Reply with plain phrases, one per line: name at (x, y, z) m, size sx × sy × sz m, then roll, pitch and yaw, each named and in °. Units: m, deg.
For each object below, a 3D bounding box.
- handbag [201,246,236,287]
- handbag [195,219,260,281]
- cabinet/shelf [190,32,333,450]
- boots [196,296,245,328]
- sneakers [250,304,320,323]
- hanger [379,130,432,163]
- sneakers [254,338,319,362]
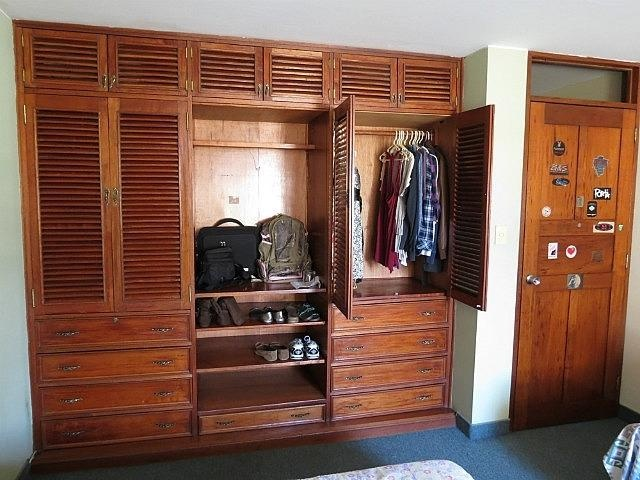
handbag at (-0.778, 0.216, 3.955) m, size 0.292 × 0.260 × 0.151 m, roll -3°, pitch -32°, yaw -3°
handbag at (-0.757, 0.077, 4.131) m, size 0.539 × 0.473 × 0.188 m, roll -1°, pitch 5°, yaw -35°
cabinet/shelf at (-0.455, -0.008, 4.056) m, size 1.252 × 2.946 × 0.752 m, roll -5°, pitch 8°, yaw -12°
boots at (-0.769, 0.555, 3.943) m, size 0.265 × 0.110 × 0.325 m, roll -2°, pitch 3°, yaw -12°
sneakers at (-0.262, 0.580, 4.099) m, size 0.231 × 0.085 × 0.301 m, roll -2°, pitch 3°, yaw -29°
hanger at (0.715, -0.763, 4.214) m, size 0.351 × 0.185 × 0.068 m, roll -8°, pitch 23°, yaw -14°
sneakers at (-0.239, 0.868, 4.088) m, size 0.238 × 0.084 × 0.295 m, roll 0°, pitch 2°, yaw -18°
